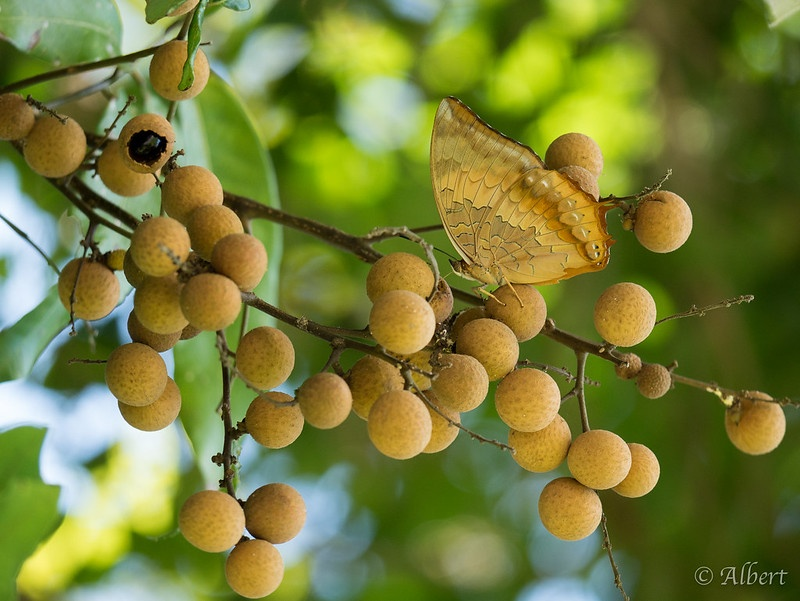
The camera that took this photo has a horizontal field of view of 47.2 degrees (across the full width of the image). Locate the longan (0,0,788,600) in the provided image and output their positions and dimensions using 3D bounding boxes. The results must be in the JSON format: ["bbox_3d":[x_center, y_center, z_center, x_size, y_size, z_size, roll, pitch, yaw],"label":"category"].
[{"bbox_3d":[-0.049,0.176,1.696,1.200,0.492,0.981,7,46,-21],"label":"longan"}]

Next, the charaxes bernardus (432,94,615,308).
[{"bbox_3d":[0.192,-0.146,1.519,0.249,0.341,0.352,7,71,-5],"label":"charaxes bernardus"}]
